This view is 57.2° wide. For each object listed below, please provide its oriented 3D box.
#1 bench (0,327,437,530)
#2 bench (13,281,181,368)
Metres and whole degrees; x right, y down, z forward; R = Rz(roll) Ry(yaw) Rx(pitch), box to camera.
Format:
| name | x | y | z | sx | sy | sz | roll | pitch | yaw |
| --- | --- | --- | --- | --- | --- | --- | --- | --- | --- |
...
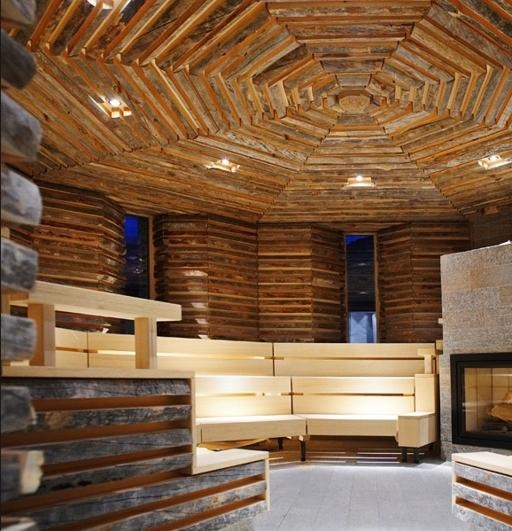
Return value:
| name | x | y | z | sx | sy | sz | roll | pitch | yaw |
| --- | --- | --- | --- | --- | --- | --- | --- | --- | --- |
| bench | 0.128 | 1.462 | 5.130 | 2.417 | 1.400 | 4.565 | -11 | -17 | 39 |
| bench | -0.714 | 0.269 | 1.941 | 0.368 | 0.304 | 0.753 | -8 | -15 | 31 |
